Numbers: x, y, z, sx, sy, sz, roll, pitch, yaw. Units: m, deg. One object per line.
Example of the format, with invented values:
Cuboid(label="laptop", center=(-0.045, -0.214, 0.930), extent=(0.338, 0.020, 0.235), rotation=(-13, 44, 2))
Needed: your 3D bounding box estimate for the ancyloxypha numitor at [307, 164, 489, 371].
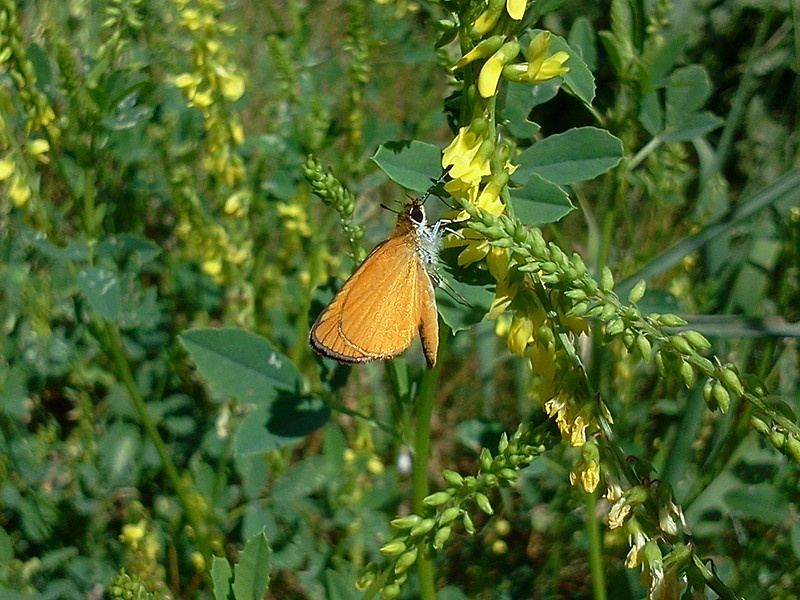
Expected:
Cuboid(label="ancyloxypha numitor", center=(-0.016, -0.028, 1.926), extent=(0.238, 0.401, 0.339), rotation=(20, 12, -19))
